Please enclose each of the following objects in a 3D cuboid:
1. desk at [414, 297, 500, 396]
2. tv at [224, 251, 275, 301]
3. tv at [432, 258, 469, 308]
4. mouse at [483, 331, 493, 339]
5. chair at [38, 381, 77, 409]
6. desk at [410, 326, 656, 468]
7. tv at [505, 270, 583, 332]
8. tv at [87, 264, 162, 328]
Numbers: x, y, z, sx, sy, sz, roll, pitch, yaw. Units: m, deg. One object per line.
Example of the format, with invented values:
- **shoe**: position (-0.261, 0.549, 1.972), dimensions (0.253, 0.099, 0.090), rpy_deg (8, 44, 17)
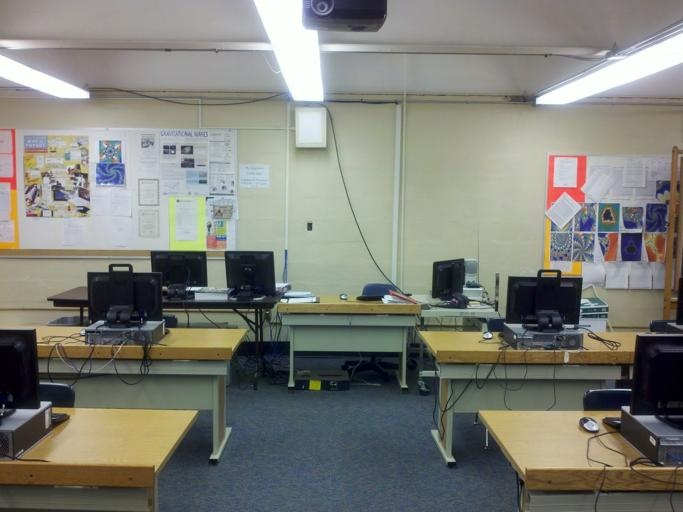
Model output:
- **desk**: position (1.263, 1.053, 7.202), dimensions (1.073, 1.028, 0.900), rpy_deg (0, 5, 0)
- **tv**: position (-0.974, 0.206, 6.704), dimensions (0.468, 0.416, 0.195), rpy_deg (1, 14, 2)
- **tv**: position (1.193, 0.311, 6.917), dimensions (0.497, 0.511, 0.272), rpy_deg (0, 5, -5)
- **mouse**: position (1.315, 0.702, 5.642), dimensions (0.056, 0.022, 0.057), rpy_deg (-8, 16, -2)
- **chair**: position (-2.141, 1.021, 4.788), dimensions (0.211, 0.273, 0.220), rpy_deg (4, -3, -40)
- **desk**: position (1.569, 1.623, 5.957), dimensions (2.106, 1.039, 1.106), rpy_deg (0, 3, -1)
- **tv**: position (1.802, 0.412, 5.591), dimensions (0.579, 0.454, 0.212), rpy_deg (1, -1, 3)
- **tv**: position (-1.905, 0.368, 5.545), dimensions (0.610, 0.480, 0.203), rpy_deg (0, 4, -1)
